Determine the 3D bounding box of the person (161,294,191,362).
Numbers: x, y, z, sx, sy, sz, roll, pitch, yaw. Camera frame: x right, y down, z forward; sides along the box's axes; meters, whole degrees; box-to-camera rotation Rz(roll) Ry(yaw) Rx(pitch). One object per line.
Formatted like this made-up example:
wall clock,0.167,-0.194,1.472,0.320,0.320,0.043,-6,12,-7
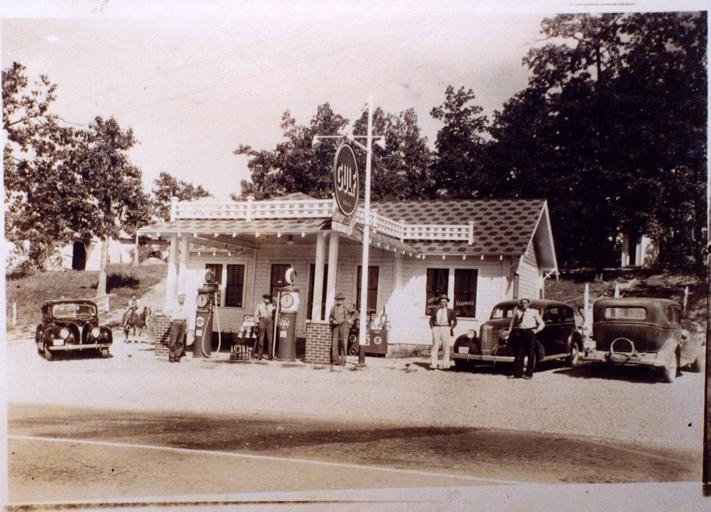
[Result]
person,-4.883,1.961,20.501,0.443,1.890,0.725,4,-7,-14

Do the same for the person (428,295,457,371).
person,2.300,1.989,19.643,0.703,1.945,1.106,2,-7,7

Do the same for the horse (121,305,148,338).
horse,-6.393,1.932,21.690,1.189,0.856,0.394,-5,-5,30

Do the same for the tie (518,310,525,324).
tie,4.031,1.490,18.218,0.062,0.259,0.180,12,-4,-8

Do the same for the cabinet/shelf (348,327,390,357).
cabinet/shelf,0.449,2.526,21.886,1.204,0.900,0.767,-1,-6,11

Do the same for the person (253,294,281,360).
person,-2.561,2.002,21.233,0.566,1.872,1.322,3,-7,-7

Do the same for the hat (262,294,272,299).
hat,-2.600,1.161,21.862,0.206,0.088,0.228,-1,-3,1

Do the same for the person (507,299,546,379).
person,4.145,2.072,18.104,0.667,2.330,0.990,35,-39,-31

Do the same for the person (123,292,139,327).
person,-6.419,1.526,21.294,0.271,0.887,0.729,3,-7,-5
